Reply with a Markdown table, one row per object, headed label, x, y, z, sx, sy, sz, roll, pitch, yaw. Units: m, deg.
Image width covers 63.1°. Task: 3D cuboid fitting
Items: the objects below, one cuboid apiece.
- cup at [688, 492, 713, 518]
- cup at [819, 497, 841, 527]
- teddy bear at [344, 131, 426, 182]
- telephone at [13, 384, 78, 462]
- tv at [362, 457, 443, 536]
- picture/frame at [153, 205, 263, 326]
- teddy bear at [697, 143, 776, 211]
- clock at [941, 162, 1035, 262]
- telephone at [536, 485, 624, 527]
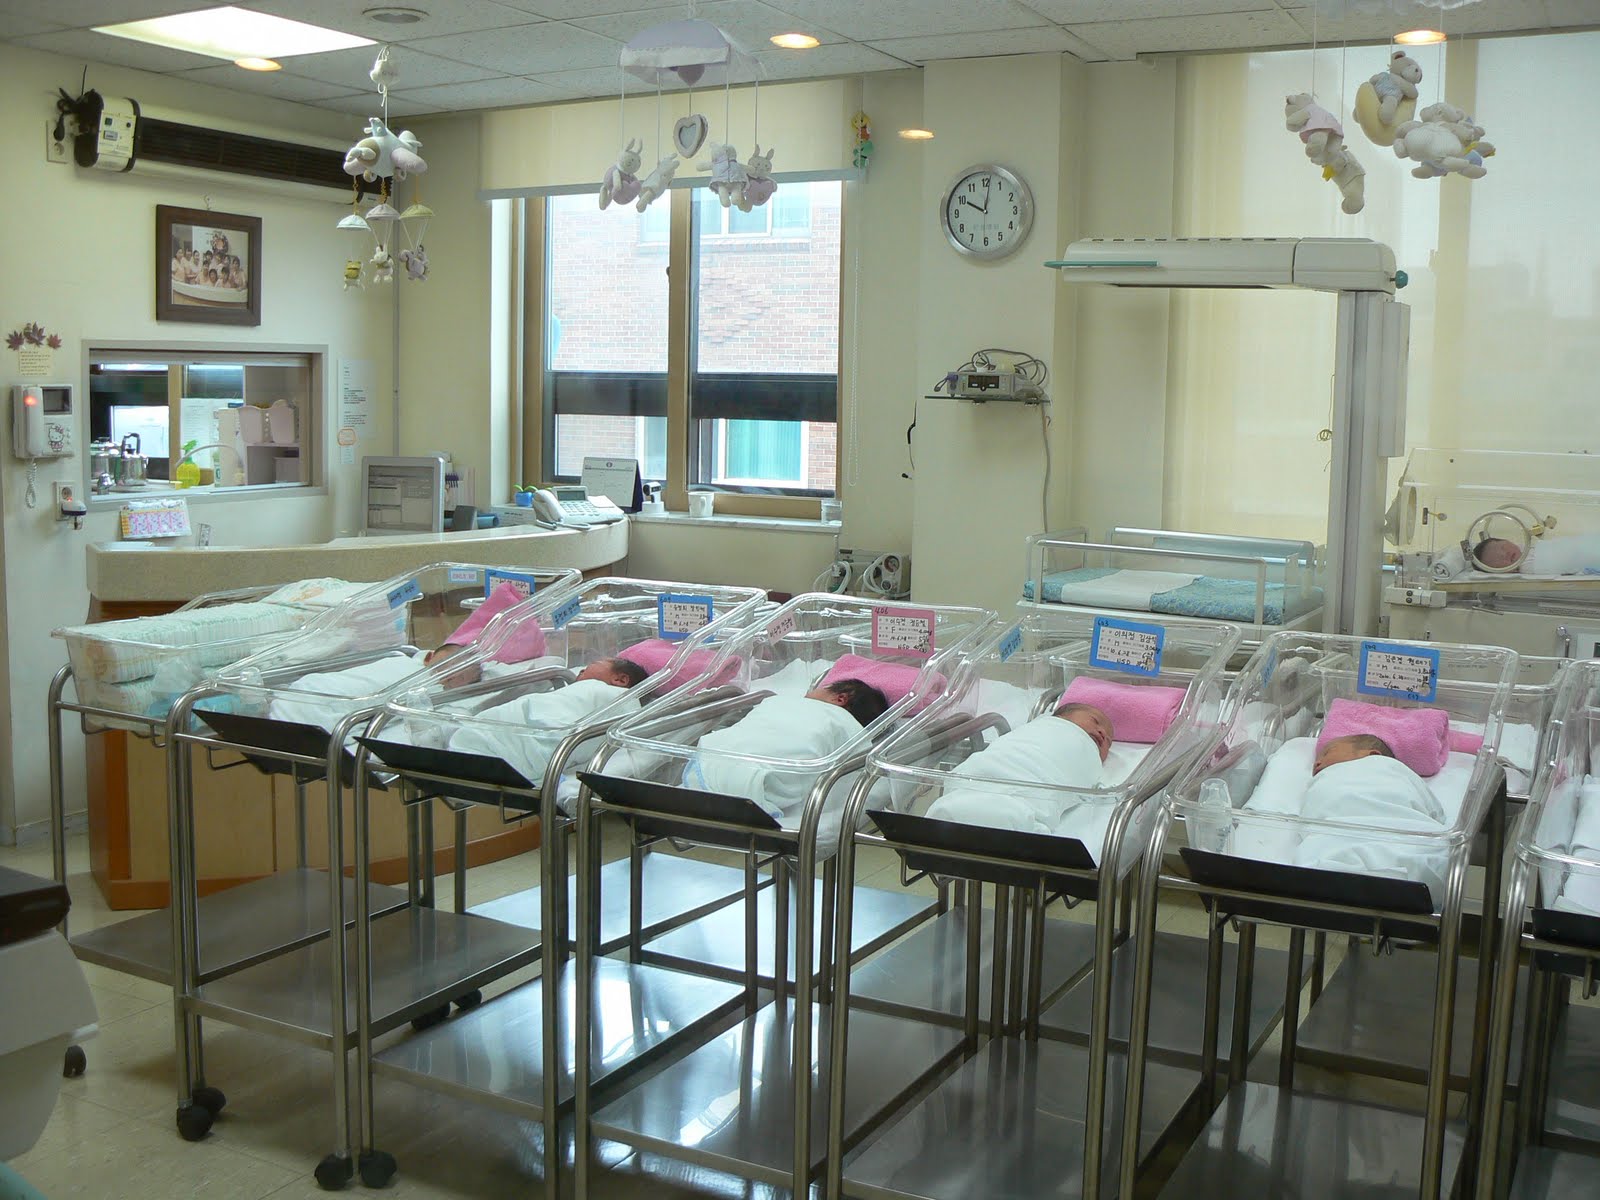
| label | x | y | z | sx | sy | sz | roll | pitch | yaw |
| --- | --- | --- | --- | --- | --- | --- | --- | --- | --- |
| cup | -0.522 | -0.525 | 7.053 | 0.137 | 0.134 | 0.190 | -1 | 13 | -6 |
| cup | 0.187 | -0.450 | 6.738 | 0.117 | 0.145 | 0.118 | 1 | 8 | 0 |
| teddy bear | -1.302 | -1.412 | 4.090 | 0.212 | 0.164 | 0.347 | -4 | 14 | -19 |
| telephone | -3.189 | -0.748 | 5.510 | 0.105 | 0.347 | 0.330 | 2 | 4 | 24 |
| tv | -2.156 | -0.558 | 6.915 | 0.446 | 0.416 | 0.329 | -3 | 11 | -38 |
| picture/frame | -2.853 | -1.618 | 6.343 | 0.027 | 0.527 | 0.599 | 11 | 13 | 22 |
| teddy bear | -0.180 | -1.359 | 4.204 | 0.185 | 0.197 | 0.305 | 1 | 13 | 3 |
| clock | 0.829 | -1.682 | 5.613 | 0.424 | 0.434 | 0.068 | 4 | 4 | 30 |
| telephone | -1.121 | -0.464 | 6.607 | 0.276 | 0.108 | 0.302 | 3 | 7 | 27 |
